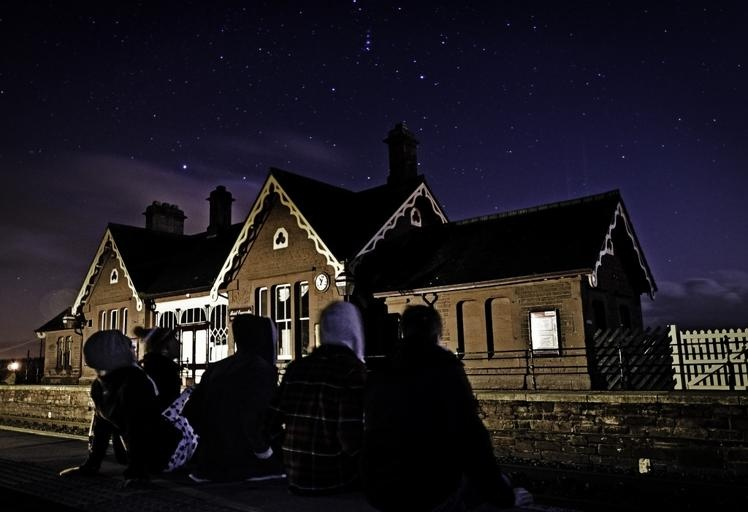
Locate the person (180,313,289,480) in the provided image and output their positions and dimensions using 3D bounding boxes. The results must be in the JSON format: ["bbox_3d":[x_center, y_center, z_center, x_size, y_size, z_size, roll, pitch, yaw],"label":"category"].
[{"bbox_3d":[-2.119,2.152,9.776,1.289,2.438,0.773,0,-12,-6],"label":"person"}]

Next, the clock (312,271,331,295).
[{"bbox_3d":[-1.848,0.934,22.746,0.123,0.688,0.775,10,-17,-42],"label":"clock"}]

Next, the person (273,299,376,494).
[{"bbox_3d":[-0.679,1.965,8.986,1.406,2.581,0.531,-9,-14,28],"label":"person"}]
